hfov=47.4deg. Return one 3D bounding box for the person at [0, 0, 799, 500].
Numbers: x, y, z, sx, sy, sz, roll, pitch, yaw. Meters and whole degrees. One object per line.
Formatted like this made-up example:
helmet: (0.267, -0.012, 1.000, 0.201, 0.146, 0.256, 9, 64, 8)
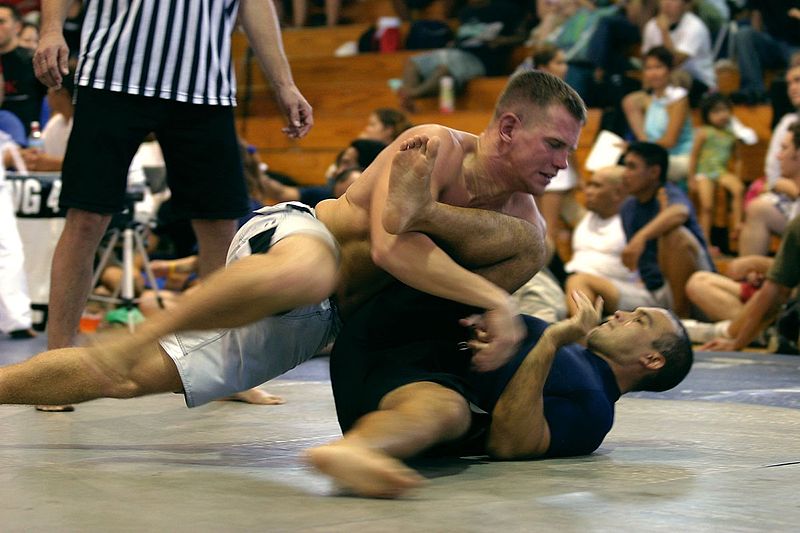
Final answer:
person: (-0.075, 0.000, 2.751, 1.977, 1.222, 0.761, 2, 7, 7)
